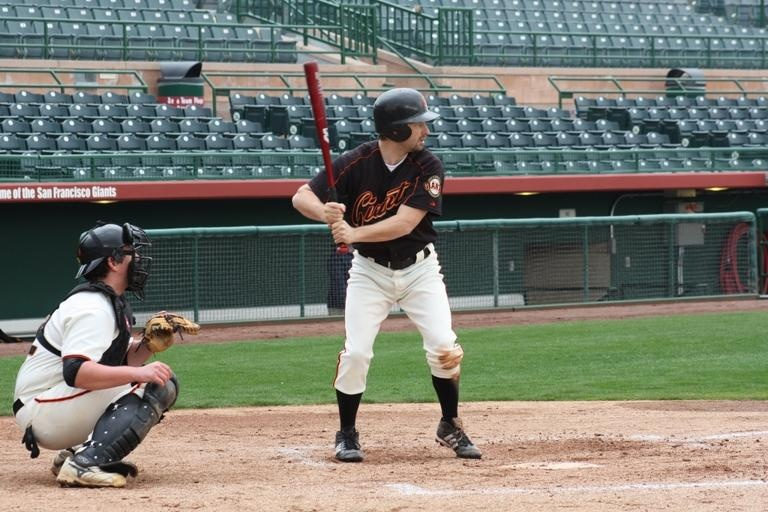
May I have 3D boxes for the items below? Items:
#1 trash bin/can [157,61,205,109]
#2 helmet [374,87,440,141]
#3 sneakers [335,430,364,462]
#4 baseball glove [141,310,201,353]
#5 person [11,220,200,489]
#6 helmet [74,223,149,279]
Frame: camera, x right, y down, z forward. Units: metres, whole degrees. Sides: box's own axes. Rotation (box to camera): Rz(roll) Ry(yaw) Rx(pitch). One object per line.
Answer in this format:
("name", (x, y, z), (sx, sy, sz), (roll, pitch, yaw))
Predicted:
("trash bin/can", (-3.986, -3.164, 25.594), (1.243, 0.906, 0.992), (-1, -4, 11))
("helmet", (0.208, -1.459, 14.185), (0.607, 0.522, 0.367), (-2, 15, -6))
("sneakers", (-0.370, 1.975, 14.151), (0.279, 0.314, 0.236), (-1, 15, -1))
("baseball glove", (-2.084, 0.774, 13.642), (0.548, 0.230, 0.447), (-25, 20, -32))
("person", (-2.828, 1.005, 13.467), (1.602, 2.548, 0.882), (-6, 17, -18))
("helmet", (-2.831, -0.063, 13.619), (0.789, 0.385, 0.536), (-16, 9, -19))
